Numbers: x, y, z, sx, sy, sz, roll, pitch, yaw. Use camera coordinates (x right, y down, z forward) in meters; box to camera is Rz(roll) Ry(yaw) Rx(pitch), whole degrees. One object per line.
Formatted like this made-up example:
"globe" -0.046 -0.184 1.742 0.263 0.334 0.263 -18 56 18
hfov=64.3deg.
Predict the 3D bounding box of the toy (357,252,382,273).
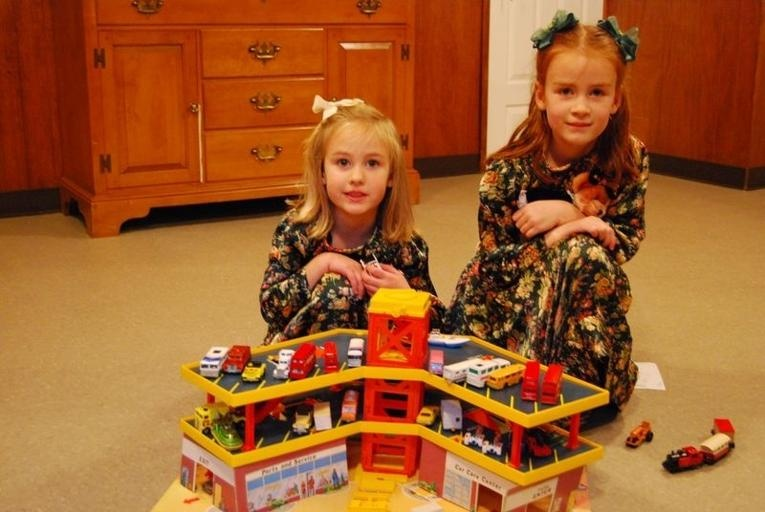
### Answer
"toy" -0.034 0.021 1.762 0.064 0.026 0.108 -3 20 -3

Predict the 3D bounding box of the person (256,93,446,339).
"person" -0.111 -0.039 1.792 0.547 0.820 0.505 -2 8 -35

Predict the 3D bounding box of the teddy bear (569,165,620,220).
"teddy bear" 0.630 -0.193 1.824 0.122 0.135 0.060 8 -2 -4

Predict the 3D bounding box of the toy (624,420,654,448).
"toy" 0.733 0.498 1.742 0.090 0.045 0.050 -20 18 -41
